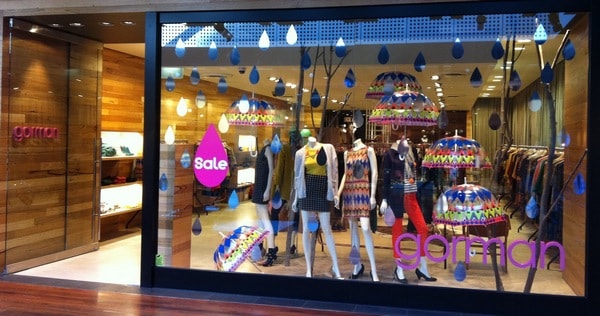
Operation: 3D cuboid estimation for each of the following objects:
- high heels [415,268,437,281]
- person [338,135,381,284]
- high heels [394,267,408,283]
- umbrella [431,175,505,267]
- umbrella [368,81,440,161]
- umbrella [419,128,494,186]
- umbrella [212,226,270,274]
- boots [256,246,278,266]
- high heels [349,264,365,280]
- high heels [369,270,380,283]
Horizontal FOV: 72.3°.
[{"bbox_3d":[1.662,1.538,5.411,0.321,0.177,0.106,-2,-6,9],"label":"high heels"},{"bbox_3d":[0.779,0.674,5.404,0.570,1.844,0.326,2,10,6],"label":"person"},{"bbox_3d":[1.310,1.525,5.400,0.102,0.110,0.292,-5,11,-10],"label":"high heels"},{"bbox_3d":[2.298,0.765,5.623,0.973,0.932,0.957,7,18,38],"label":"umbrella"},{"bbox_3d":[1.569,-0.439,5.827,1.255,1.107,1.181,1,4,0],"label":"umbrella"},{"bbox_3d":[2.041,-0.044,5.326,0.722,0.588,0.716,2,5,22],"label":"umbrella"},{"bbox_3d":[-0.838,1.201,5.602,0.336,0.663,0.662,45,-32,-15],"label":"umbrella"},{"bbox_3d":[-0.441,1.328,5.552,0.344,0.241,0.138,-1,2,-44],"label":"boots"},{"bbox_3d":[0.738,1.510,5.473,0.166,0.297,0.101,23,41,-16],"label":"high heels"},{"bbox_3d":[0.979,1.561,5.393,0.066,0.172,0.068,-27,-6,-11],"label":"high heels"}]
